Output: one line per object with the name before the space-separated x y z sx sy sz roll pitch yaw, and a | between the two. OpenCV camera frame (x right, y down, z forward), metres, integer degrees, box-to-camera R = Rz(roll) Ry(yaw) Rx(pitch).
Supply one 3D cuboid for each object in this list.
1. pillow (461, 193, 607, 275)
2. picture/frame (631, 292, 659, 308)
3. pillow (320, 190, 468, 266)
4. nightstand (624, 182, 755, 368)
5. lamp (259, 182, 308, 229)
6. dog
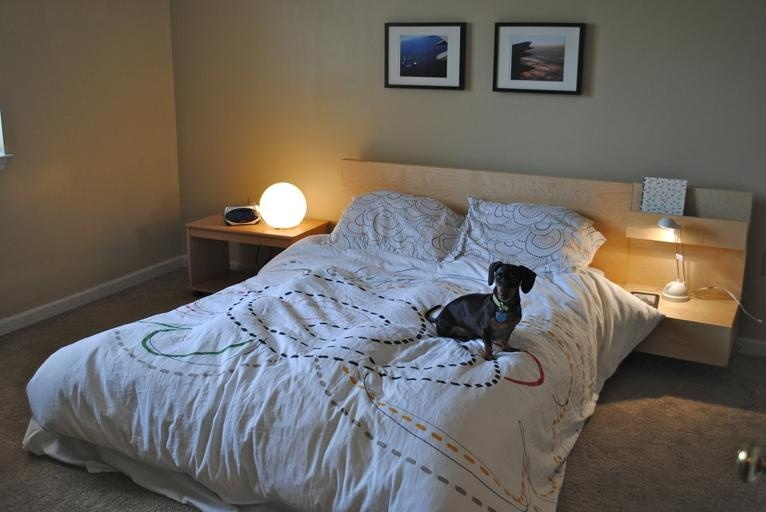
pillow | 0.991 -0.140 3.909 0.800 0.206 0.567 7 41 22
picture/frame | 1.800 0.307 3.771 0.152 0.016 0.114 6 33 38
pillow | 0.108 -0.222 4.182 0.766 0.213 0.592 14 54 19
nightstand | 2.072 0.108 3.826 0.772 1.059 0.577 9 21 31
lamp | -0.828 -0.405 4.599 0.384 0.395 0.383 -2 -19 -8
dog | 0.521 0.268 3.074 0.272 0.525 0.747 -6 9 -32
